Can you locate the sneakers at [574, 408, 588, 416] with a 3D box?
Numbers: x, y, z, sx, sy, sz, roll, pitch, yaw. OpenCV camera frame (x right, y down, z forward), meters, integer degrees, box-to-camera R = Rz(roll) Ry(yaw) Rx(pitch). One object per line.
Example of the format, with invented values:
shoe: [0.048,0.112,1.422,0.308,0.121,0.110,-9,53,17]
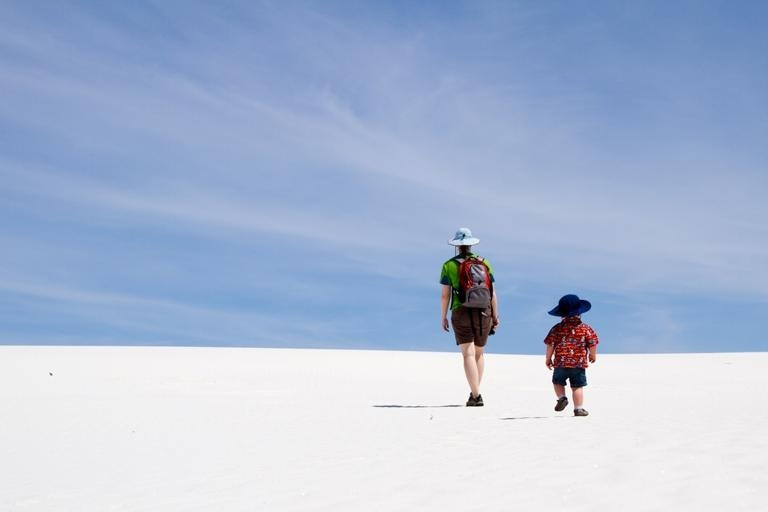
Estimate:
sneakers: [2.417,1.895,9.553,0.158,0.061,0.078,-3,1,-42]

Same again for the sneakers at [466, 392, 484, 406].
sneakers: [1.213,1.889,10.322,0.226,0.175,0.342,-1,-10,6]

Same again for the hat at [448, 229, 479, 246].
hat: [0.977,-0.206,9.454,0.433,0.193,0.411,4,-7,-24]

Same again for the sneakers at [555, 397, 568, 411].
sneakers: [2.243,1.882,9.918,0.107,0.090,0.215,-8,-35,-30]

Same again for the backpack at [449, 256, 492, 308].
backpack: [1.240,0.356,10.908,0.541,0.724,0.426,0,4,-21]
